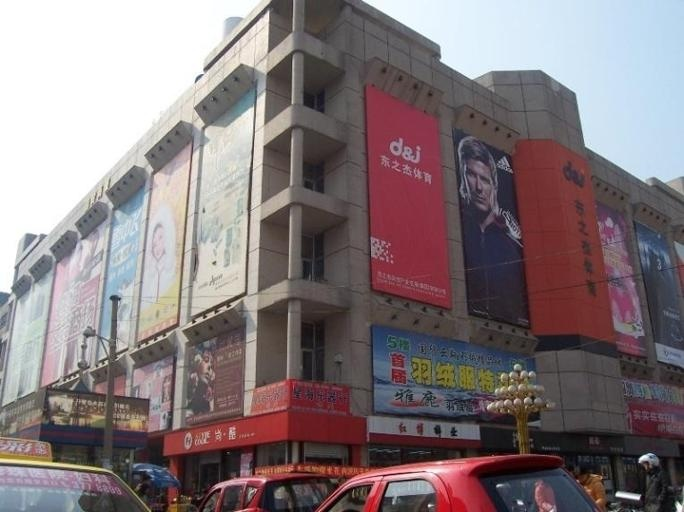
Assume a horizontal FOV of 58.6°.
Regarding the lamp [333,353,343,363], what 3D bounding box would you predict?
[{"bbox_3d":[-0.156,5.218,31.109,0.409,0.626,0.563,-1,-26,-2],"label":"lamp"}]
